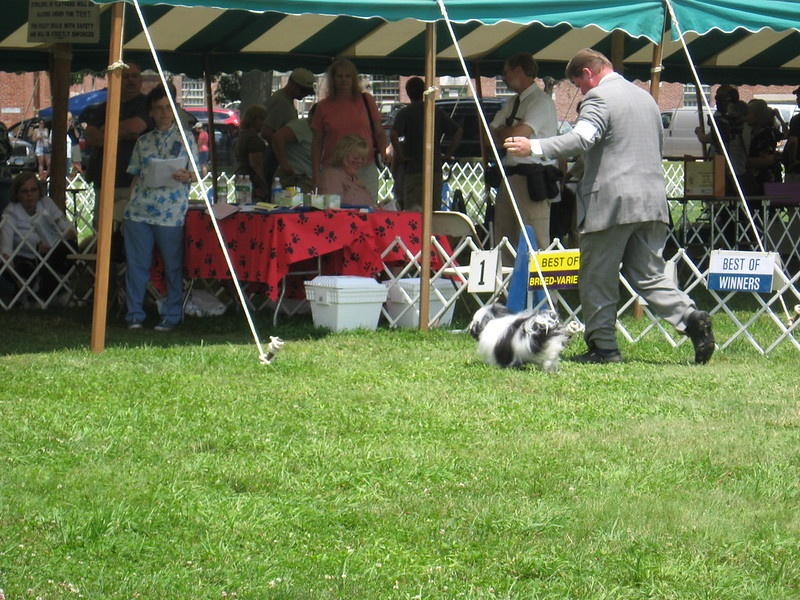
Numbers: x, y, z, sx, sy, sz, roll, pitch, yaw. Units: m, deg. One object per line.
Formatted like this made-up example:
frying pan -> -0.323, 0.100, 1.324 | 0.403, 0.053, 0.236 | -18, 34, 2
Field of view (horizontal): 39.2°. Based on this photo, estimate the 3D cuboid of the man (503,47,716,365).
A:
man -> 1.732, -0.703, 8.505 | 1.246, 2.406, 1.369 | 3, 5, 35

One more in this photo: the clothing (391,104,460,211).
clothing -> 0.292, -1.741, 13.501 | 0.717, 1.408, 0.377 | -9, 33, -16

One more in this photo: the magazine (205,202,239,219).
magazine -> -1.542, -0.784, 9.982 | 0.239, 0.130, 0.236 | -2, 15, -10

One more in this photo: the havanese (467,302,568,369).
havanese -> 0.853, 0.296, 8.323 | 0.758, 0.583, 0.397 | -2, 14, 33

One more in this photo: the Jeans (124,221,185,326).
Jeans -> -2.155, -0.331, 9.790 | 0.464, 1.267, 0.387 | 4, 26, -11

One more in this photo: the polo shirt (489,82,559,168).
polo shirt -> 1.307, -1.560, 10.337 | 0.364, 0.686, 0.483 | -12, 3, -9

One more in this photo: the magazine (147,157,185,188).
magazine -> -1.952, -1.057, 9.417 | 0.328, 0.253, 0.142 | -11, 17, -37

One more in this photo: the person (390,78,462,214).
person -> 0.322, -1.851, 13.766 | 0.760, 2.178, 0.648 | -5, 49, 0

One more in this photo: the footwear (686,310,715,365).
footwear -> 2.273, 0.267, 8.502 | 0.161, 0.515, 0.214 | -16, 20, -19

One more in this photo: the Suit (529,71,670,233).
Suit -> 1.495, -1.058, 8.236 | 0.966, 1.116, 0.426 | -4, 13, -18

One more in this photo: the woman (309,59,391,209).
woman -> -0.524, -1.309, 11.445 | 0.675, 2.321, 0.639 | -3, 24, -11

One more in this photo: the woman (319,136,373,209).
woman -> -0.480, -1.157, 10.759 | 0.421, 0.828, 0.665 | 3, 8, 29

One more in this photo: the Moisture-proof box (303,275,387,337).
Moisture-proof box -> -0.478, 0.023, 9.877 | 0.592, 0.472, 0.512 | -1, 6, -44

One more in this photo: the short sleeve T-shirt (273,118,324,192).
short sleeve T-shirt -> -1.046, -1.457, 11.622 | 0.531, 0.930, 0.739 | 0, 7, -9

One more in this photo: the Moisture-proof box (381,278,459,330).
Moisture-proof box -> 0.119, 0.022, 10.111 | 0.392, 0.422, 0.540 | -2, 5, -33

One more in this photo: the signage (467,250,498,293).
signage -> 0.694, -0.235, 9.204 | 0.228, 0.362, 0.184 | -3, -10, 25

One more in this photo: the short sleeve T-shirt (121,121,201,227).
short sleeve T-shirt -> -2.047, -1.073, 9.601 | 0.700, 1.068, 0.516 | 5, 9, -7

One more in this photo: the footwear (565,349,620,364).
footwear -> 1.478, 0.392, 8.569 | 0.375, 0.186, 0.149 | 3, -2, 5
